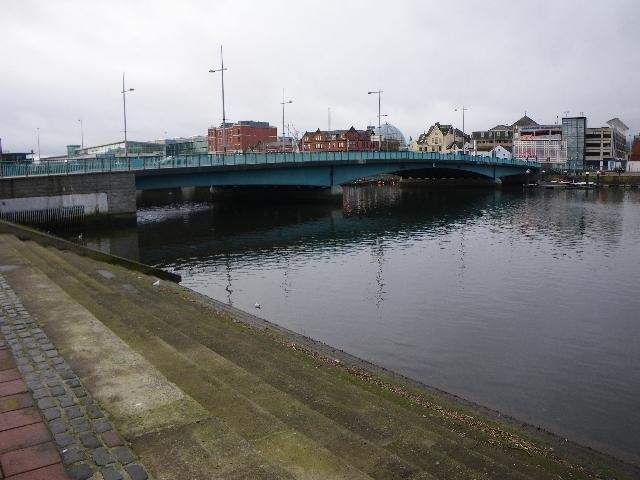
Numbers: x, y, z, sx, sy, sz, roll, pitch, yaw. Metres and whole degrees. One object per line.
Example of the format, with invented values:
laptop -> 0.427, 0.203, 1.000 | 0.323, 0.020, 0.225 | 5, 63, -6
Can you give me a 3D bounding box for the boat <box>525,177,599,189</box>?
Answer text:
boat -> 41.854, -9.580, 105.247 | 10.901, 1.079, 9.174 | 9, 14, 41
